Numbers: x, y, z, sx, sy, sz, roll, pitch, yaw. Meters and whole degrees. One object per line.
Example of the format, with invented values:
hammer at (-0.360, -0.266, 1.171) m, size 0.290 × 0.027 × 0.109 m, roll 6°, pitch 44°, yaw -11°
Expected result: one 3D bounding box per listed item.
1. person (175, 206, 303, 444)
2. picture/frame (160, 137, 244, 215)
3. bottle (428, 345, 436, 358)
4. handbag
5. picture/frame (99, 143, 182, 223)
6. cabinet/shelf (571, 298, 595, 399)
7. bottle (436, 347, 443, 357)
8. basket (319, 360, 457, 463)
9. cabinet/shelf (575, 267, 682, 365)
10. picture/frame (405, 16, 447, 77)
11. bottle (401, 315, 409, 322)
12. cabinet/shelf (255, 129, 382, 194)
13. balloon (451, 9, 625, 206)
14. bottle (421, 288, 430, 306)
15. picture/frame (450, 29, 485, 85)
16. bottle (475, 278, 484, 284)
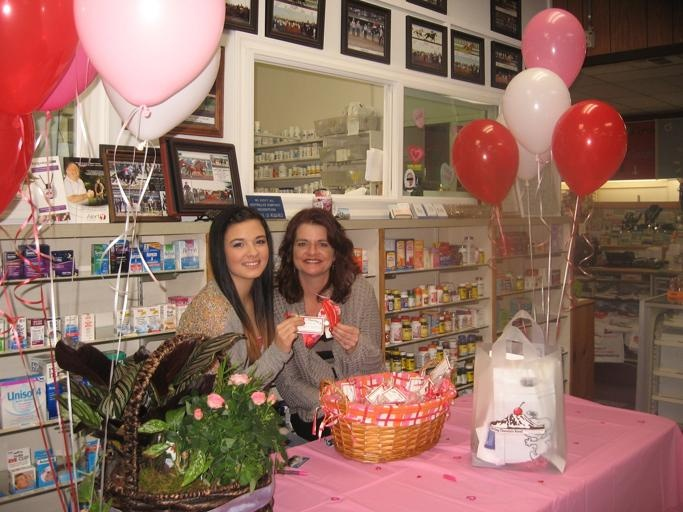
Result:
person at (-0.498, 0.542, 2.562) m, size 0.644 × 1.564 × 0.658 m, roll -2°, pitch 10°, yaw -8°
picture/frame at (-0.866, -0.472, 2.994) m, size 0.049 × 0.469 × 0.481 m, roll -14°, pitch -7°, yaw 38°
bottle at (0.758, 0.793, 4.126) m, size 0.076 × 0.148 × 0.080 m, roll 1°, pitch 4°, yaw 0°
handbag at (0.632, 0.481, 1.769) m, size 0.294 × 0.566 × 0.177 m, roll -1°, pitch 3°, yaw 18°
picture/frame at (-1.130, -0.391, 2.743) m, size 0.036 × 0.531 × 0.474 m, roll -21°, pitch -18°, yaw 36°
cabinet/shelf at (2.676, 1.029, 5.461) m, size 0.187 × 1.087 × 0.230 m, roll -12°, pitch -42°, yaw 42°
bottle at (0.826, 0.807, 4.154) m, size 0.054 × 0.105 × 0.059 m, roll 1°, pitch -1°, yaw 0°
basket at (0.179, 0.567, 1.826) m, size 0.424 × 0.239 × 0.321 m, roll -4°, pitch 3°, yaw -41°
cabinet/shelf at (3.088, 0.602, 5.318) m, size 1.021 × 1.091 × 0.338 m, roll 5°, pitch 8°, yaw 45°
picture/frame at (0.733, -1.854, 4.363) m, size 0.549 × 0.526 × 0.039 m, roll -3°, pitch 2°, yaw -44°
bottle at (0.519, 0.506, 3.999) m, size 0.037 × 0.040 × 0.040 m, roll 3°, pitch -3°, yaw -8°
cabinet/shelf at (-0.527, -1.272, 6.088) m, size 0.866 × 0.978 × 3.961 m, roll -4°, pitch 8°, yaw -13°
balloon at (1.188, -0.969, 3.052) m, size 0.879 × 1.249 × 0.913 m, roll 0°, pitch 7°, yaw 18°
bottle at (0.712, 0.343, 4.170) m, size 0.090 × 0.190 × 0.100 m, roll 0°, pitch 0°, yaw -1°
picture/frame at (1.196, -1.906, 4.733) m, size 0.043 × 0.510 × 0.536 m, roll 0°, pitch 2°, yaw 44°
bottle at (1.264, 0.225, 4.512) m, size 0.050 × 0.057 × 0.055 m, roll 1°, pitch 6°, yaw 0°
